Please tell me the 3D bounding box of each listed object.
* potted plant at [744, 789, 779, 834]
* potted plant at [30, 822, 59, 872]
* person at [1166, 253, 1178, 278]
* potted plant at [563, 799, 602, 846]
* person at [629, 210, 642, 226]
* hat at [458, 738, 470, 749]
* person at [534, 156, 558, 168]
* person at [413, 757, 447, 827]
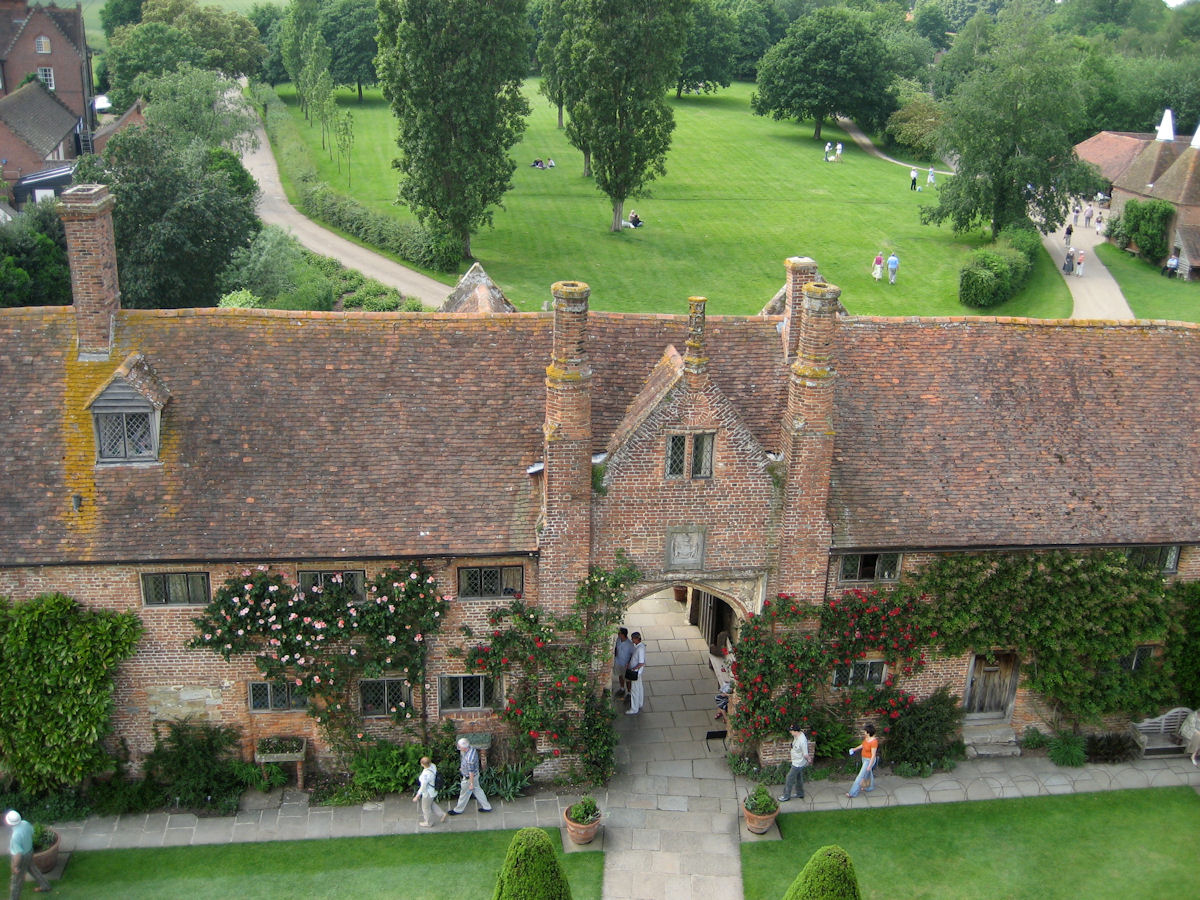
[{"bbox_3d":[5.935,13.700,67.582,1.309,1.309,1.163,9,33,9],"label":"potted plant"},{"bbox_3d":[-20.095,14.640,65.813,1.379,0.937,1.270,13,24,29],"label":"potted plant"},{"bbox_3d":[39.094,-12.557,123.399,1.066,1.269,0.838,-20,39,-31],"label":"person"},{"bbox_3d":[-0.629,13.995,67.074,1.328,1.343,1.120,0,33,-4],"label":"potted plant"},{"bbox_3d":[2.670,-16.823,132.887,1.181,1.247,0.884,-4,42,-3],"label":"person"},{"bbox_3d":[-5.079,11.054,67.412,0.296,0.409,0.403,19,31,-1],"label":"hat"},{"bbox_3d":[-4.598,-23.885,150.601,1.159,0.490,1.181,16,29,35],"label":"person"},{"bbox_3d":[-6.331,12.834,67.494,1.092,2.539,1.259,-1,33,-6],"label":"person"}]
